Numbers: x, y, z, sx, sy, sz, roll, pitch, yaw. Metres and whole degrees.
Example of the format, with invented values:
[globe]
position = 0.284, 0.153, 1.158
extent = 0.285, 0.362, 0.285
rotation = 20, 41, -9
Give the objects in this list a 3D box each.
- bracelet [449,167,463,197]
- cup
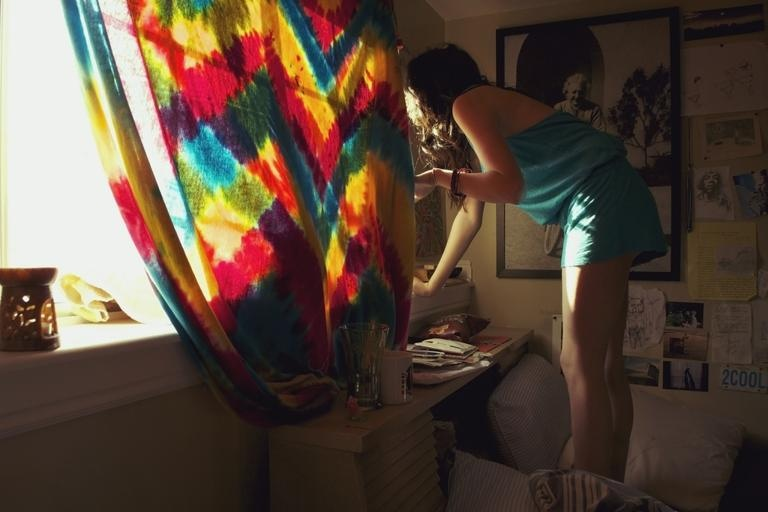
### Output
[bracelet]
position = 0.247, -0.255, 1.817
extent = 0.034, 0.085, 0.069
rotation = 5, 4, 9
[cup]
position = -0.032, 0.322, 1.554
extent = 0.260, 0.264, 0.170
rotation = -2, -1, 18
